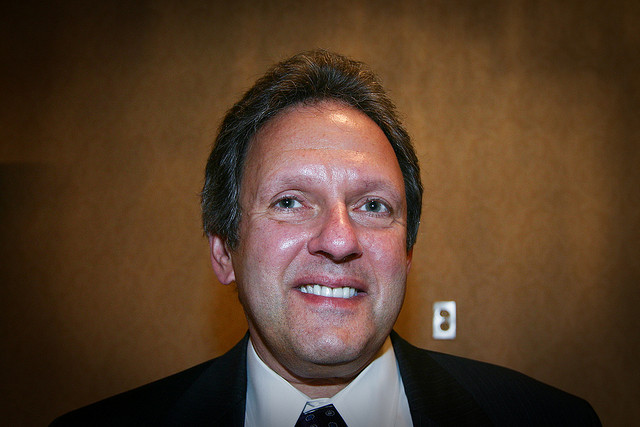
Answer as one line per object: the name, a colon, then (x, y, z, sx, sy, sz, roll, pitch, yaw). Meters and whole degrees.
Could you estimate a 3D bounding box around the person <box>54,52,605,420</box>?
person: (0.177, 0.169, 2.944, 1.857, 1.342, 0.885, 0, -18, -5)
